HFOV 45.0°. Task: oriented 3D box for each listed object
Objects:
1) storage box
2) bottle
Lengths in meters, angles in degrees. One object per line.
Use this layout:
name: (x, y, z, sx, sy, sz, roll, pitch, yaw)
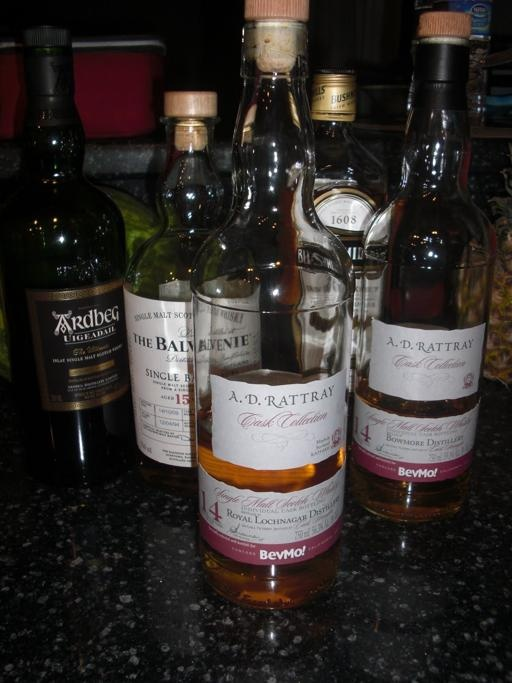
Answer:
storage box: (-0.201, -0.291, 0.742, 0.176, 0.088, 0.116, -2, 8, -6)
bottle: (0.097, -0.038, 0.469, 0.339, 0.373, 0.165, -12, 25, -27)
